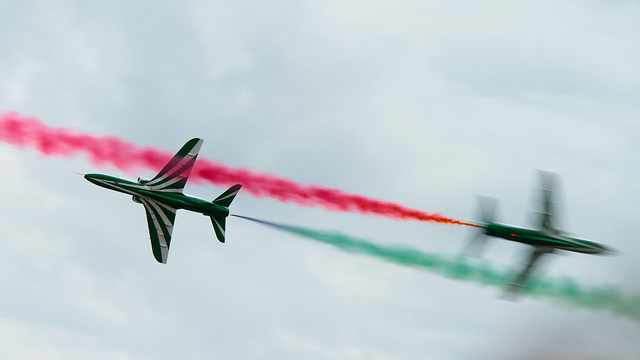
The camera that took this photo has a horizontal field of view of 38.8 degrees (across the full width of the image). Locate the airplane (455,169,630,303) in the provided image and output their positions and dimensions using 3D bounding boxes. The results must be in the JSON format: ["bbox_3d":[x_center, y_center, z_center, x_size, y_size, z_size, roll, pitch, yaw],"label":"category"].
[{"bbox_3d":[13.509,3.655,58.502,10.971,9.189,20.807,0,-1,1],"label":"airplane"}]
